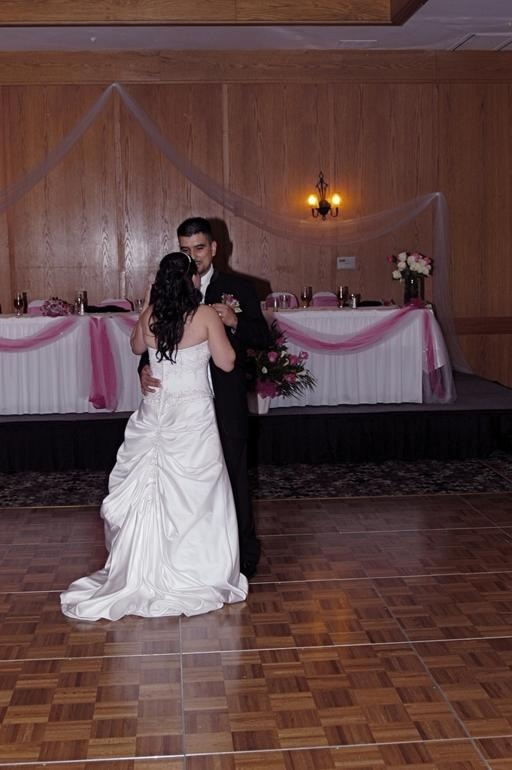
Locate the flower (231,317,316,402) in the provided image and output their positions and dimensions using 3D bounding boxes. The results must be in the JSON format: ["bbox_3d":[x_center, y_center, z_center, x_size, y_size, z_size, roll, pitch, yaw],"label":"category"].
[{"bbox_3d":[0.139,-0.187,4.625,0.546,0.406,0.566,-5,11,7],"label":"flower"}]

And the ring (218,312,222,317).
[{"bbox_3d":[-0.134,-0.263,2.230,0.005,0.016,0.011,-2,11,33],"label":"ring"}]

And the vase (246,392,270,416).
[{"bbox_3d":[0.019,0.139,4.533,0.150,0.177,0.162,-1,0,44],"label":"vase"}]

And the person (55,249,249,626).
[{"bbox_3d":[-0.384,0.171,2.341,0.731,1.315,0.600,1,10,-16],"label":"person"}]

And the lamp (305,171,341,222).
[{"bbox_3d":[0.810,-2.272,7.228,0.407,0.559,0.149,0,2,5],"label":"lamp"}]

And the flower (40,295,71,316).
[{"bbox_3d":[-1.595,-0.607,4.744,0.208,0.082,0.209,5,12,33],"label":"flower"}]
